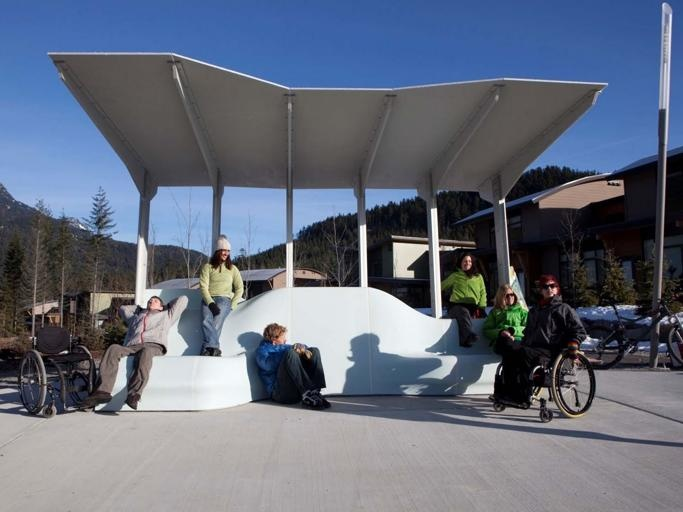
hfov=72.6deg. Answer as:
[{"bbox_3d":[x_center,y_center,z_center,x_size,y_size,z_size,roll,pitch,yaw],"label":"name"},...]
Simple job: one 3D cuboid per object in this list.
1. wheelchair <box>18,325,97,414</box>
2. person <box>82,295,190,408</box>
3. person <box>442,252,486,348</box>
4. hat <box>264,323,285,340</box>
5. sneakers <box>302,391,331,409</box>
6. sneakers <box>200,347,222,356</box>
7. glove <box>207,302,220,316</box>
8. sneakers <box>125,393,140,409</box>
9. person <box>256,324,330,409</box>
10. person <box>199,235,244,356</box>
[{"bbox_3d":[-3.968,1.632,6.632,1.174,1.220,0.998,0,-5,4],"label":"wheelchair"},{"bbox_3d":[-2.902,1.216,6.696,1.079,0.788,2.451,-3,20,-4],"label":"person"},{"bbox_3d":[2.067,0.760,7.849,0.687,1.676,1.535,0,3,3],"label":"person"},{"bbox_3d":[-0.985,1.114,6.904,0.229,0.256,0.234,3,-1,23],"label":"hat"},{"bbox_3d":[-0.363,2.017,6.483,0.301,0.156,0.210,-6,-10,41],"label":"sneakers"},{"bbox_3d":[-2.026,1.485,7.238,0.262,0.141,0.119,-1,2,-18],"label":"sneakers"},{"bbox_3d":[-1.996,0.835,7.327,0.137,0.228,0.062,-7,1,6],"label":"glove"},{"bbox_3d":[-2.677,1.852,6.018,0.148,0.231,0.086,7,-6,25],"label":"sneakers"},{"bbox_3d":[-0.742,1.641,6.943,0.945,1.432,0.791,-21,-19,17],"label":"person"},{"bbox_3d":[-1.996,0.608,7.558,0.591,1.898,1.043,0,2,7],"label":"person"}]
